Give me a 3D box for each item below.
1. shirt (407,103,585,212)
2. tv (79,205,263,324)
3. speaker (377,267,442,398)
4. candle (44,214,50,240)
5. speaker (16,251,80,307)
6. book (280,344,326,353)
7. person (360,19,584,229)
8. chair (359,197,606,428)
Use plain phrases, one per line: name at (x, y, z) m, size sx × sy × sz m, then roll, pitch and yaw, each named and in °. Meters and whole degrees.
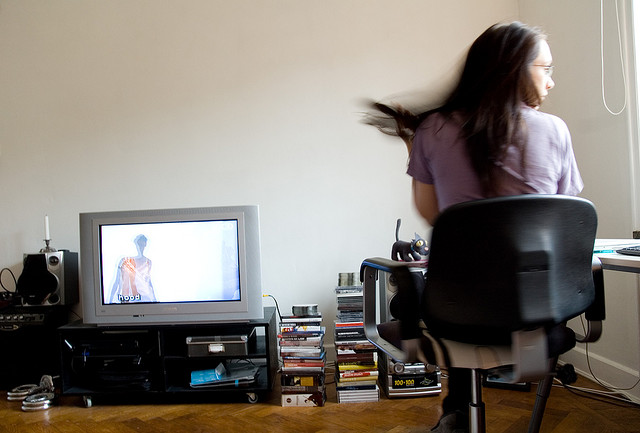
shirt at (0.841, -0.253, 2.647) m, size 0.853 × 0.559 × 0.435 m, roll 4°, pitch 2°, yaw 29°
tv at (-0.993, 0.376, 4.143) m, size 1.428 × 0.868 × 0.751 m, roll -3°, pitch -1°, yaw 6°
speaker at (0.651, 0.821, 4.014) m, size 0.457 × 0.910 × 0.522 m, roll -3°, pitch -10°, yaw 5°
candle at (-2.100, 0.078, 4.179) m, size 0.043 × 0.184 × 0.264 m, roll -7°, pitch 10°, yaw -26°
speaker at (-2.057, 0.458, 4.137) m, size 0.426 × 0.406 × 0.430 m, roll -5°, pitch -5°, yaw 43°
book at (-0.121, 0.916, 3.730) m, size 0.285 × 0.028 × 0.046 m, roll -3°, pitch 8°, yaw -5°
person at (0.704, -0.423, 3.041) m, size 0.922 × 1.326 × 1.188 m, roll -17°, pitch 21°, yaw -36°
chair at (0.738, 0.384, 2.862) m, size 1.099 × 1.410 × 1.127 m, roll 0°, pitch 1°, yaw -5°
